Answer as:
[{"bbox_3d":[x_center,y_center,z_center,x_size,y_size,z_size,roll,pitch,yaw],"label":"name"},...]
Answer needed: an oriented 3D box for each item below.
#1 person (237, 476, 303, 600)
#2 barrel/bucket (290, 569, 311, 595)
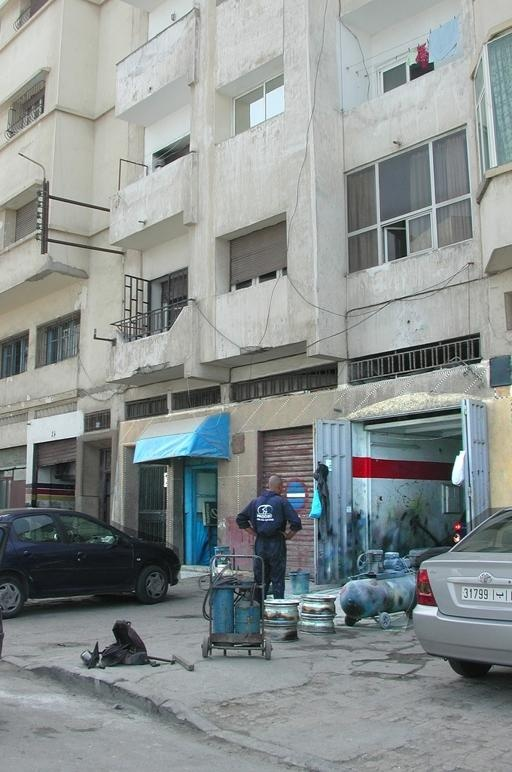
[{"bbox_3d":[0.165,1.675,7.794,0.623,1.502,0.478,4,9,19],"label":"person"},{"bbox_3d":[0.619,2.783,10.164,0.396,0.437,0.476,-2,-9,2],"label":"barrel/bucket"}]
